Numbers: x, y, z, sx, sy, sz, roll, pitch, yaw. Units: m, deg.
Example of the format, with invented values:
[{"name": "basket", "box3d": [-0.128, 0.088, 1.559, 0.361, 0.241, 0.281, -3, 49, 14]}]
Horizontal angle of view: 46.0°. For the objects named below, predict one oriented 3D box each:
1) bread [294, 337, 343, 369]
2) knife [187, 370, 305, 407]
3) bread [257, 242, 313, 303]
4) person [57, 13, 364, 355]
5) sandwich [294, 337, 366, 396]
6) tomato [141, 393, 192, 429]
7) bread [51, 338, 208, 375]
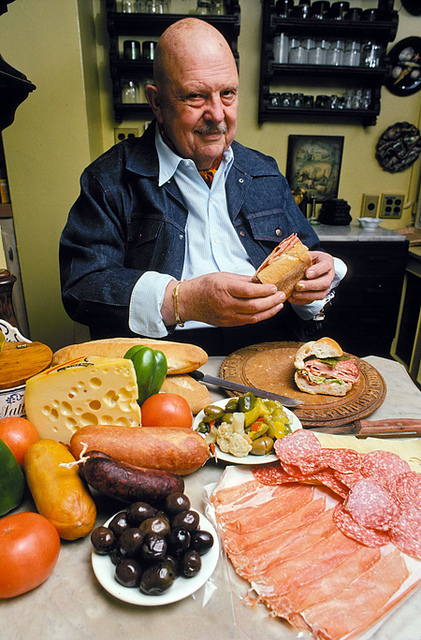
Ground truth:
[{"name": "bread", "box3d": [0.258, 0.093, 1.208, 0.069, 0.042, 0.116, -25, 0, -21]}, {"name": "knife", "box3d": [0.071, 0.145, 1.027, 0.210, 0.010, 0.024, 15, 28, 24]}, {"name": "bread", "box3d": [0.160, -0.110, 1.133, 0.132, 0.105, 0.049, -39, 41, -19]}, {"name": "person", "box3d": [0.034, -0.422, 1.464, 0.812, 0.787, 0.854, 18, 29, 29]}, {"name": "sandwich", "box3d": [0.275, 0.103, 1.203, 0.174, 0.099, 0.211, 3, 13, 24]}, {"name": "tomato", "box3d": [-0.071, 0.149, 0.803, 0.064, 0.061, 0.061, 18, 6, 14]}, {"name": "bread", "box3d": [-0.150, 0.059, 0.982, 0.220, 0.057, 0.117, 3, 13, 1]}]
